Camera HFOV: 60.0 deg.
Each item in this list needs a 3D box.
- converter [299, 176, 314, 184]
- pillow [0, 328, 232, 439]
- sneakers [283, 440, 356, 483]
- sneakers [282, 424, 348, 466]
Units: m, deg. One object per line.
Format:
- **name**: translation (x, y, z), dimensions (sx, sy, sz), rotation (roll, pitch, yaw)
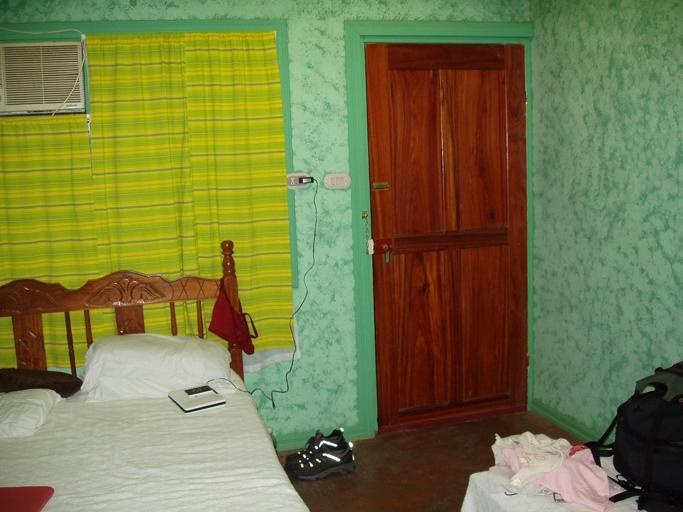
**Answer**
- **converter**: translation (-0.223, -0.481, 3.738), dimensions (0.082, 0.041, 0.031), rotation (0, -1, -24)
- **pillow**: translation (-1.118, 0.656, 3.182), dimensions (0.849, 0.191, 0.515), rotation (-2, 8, -13)
- **sneakers**: translation (-0.066, 1.229, 3.609), dimensions (0.394, 0.153, 0.237), rotation (-19, -1, 22)
- **sneakers**: translation (-0.187, 1.123, 3.620), dimensions (0.494, 0.208, 0.165), rotation (-1, 4, -22)
